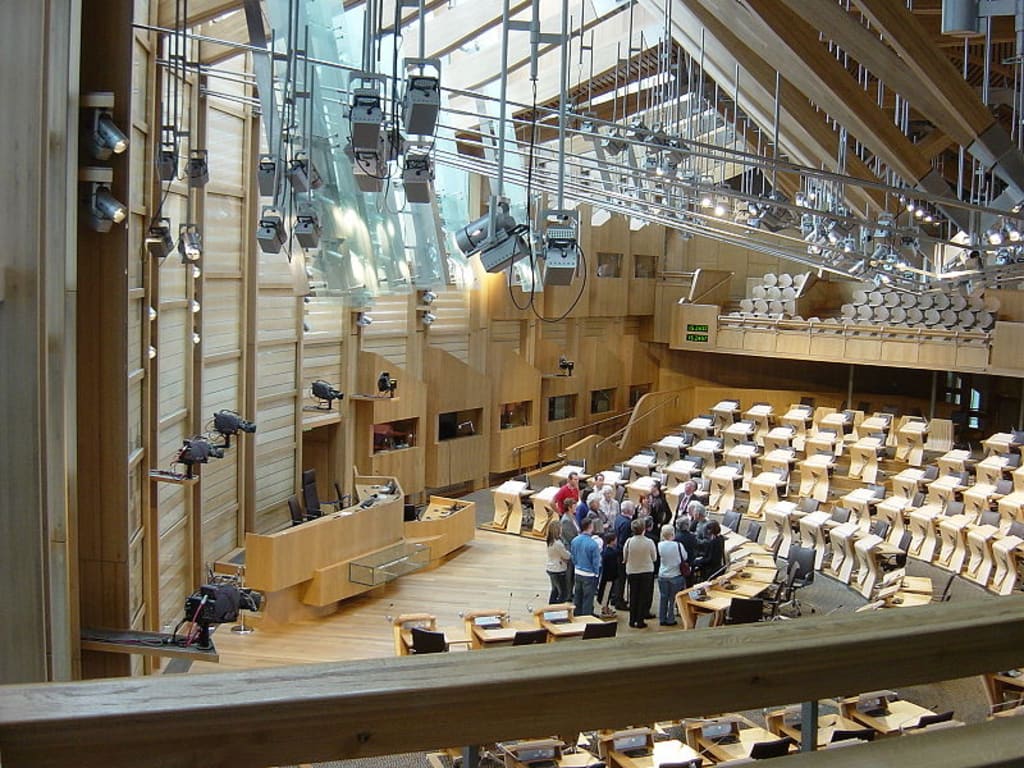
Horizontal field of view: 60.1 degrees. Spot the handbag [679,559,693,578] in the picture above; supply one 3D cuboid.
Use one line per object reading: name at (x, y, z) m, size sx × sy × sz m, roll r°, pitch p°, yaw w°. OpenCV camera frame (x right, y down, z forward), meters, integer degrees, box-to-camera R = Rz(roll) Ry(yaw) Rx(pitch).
handbag at (2.493, 2.660, 12.747) m, size 0.090 × 0.244 × 0.386 m, roll -8°, pitch -10°, yaw 21°
